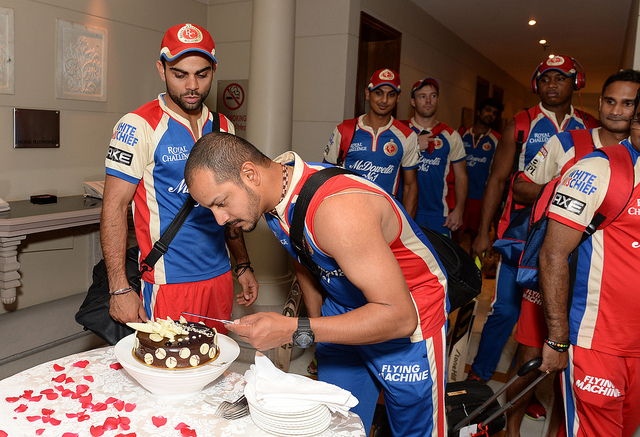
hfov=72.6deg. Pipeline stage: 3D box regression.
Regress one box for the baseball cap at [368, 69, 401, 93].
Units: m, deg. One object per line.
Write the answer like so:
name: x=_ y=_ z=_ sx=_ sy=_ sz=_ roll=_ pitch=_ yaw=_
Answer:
baseball cap: x=0.547 y=-1.190 z=3.903 sx=0.256 sy=0.210 sz=0.440 roll=5 pitch=4 yaw=0

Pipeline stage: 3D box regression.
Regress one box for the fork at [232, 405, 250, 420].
fork: x=-0.308 y=0.771 z=1.719 sx=0.039 sy=0.010 sz=0.040 roll=-31 pitch=30 yaw=-18

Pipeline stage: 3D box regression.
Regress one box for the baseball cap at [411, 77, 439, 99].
baseball cap: x=1.035 y=-1.342 z=4.417 sx=0.223 sy=0.205 sz=0.309 roll=-3 pitch=14 yaw=-20

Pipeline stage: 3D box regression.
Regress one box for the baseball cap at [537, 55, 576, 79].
baseball cap: x=1.790 y=-1.133 z=3.377 sx=0.326 sy=0.185 sz=0.230 roll=-11 pitch=12 yaw=-42

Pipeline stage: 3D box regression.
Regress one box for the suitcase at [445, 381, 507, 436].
suitcase: x=0.865 y=1.010 z=2.385 sx=0.381 sy=0.310 sz=0.271 roll=8 pitch=-24 yaw=-25
